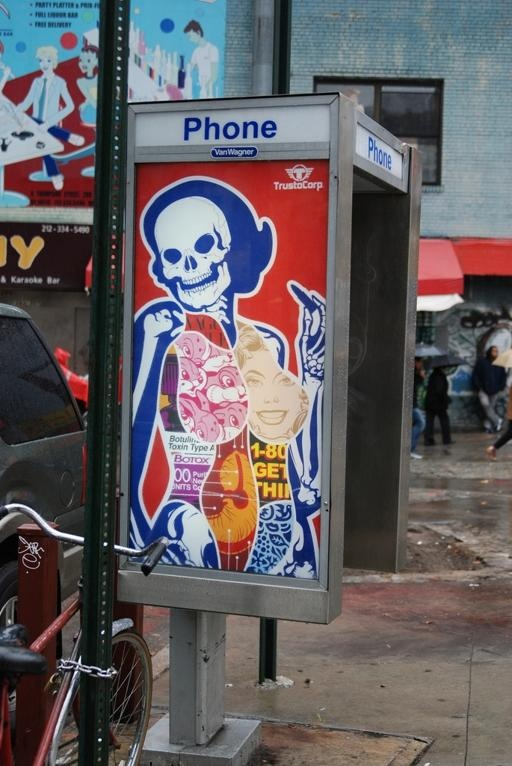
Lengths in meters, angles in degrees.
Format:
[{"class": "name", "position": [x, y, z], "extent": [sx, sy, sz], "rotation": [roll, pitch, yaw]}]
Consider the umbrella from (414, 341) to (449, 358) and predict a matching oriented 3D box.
[{"class": "umbrella", "position": [2.844, -0.537, 17.871], "extent": [0.542, 0.241, 0.556], "rotation": [3, 5, 39]}]

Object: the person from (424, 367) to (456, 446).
[{"class": "person", "position": [2.995, 0.379, 17.977], "extent": [0.446, 1.368, 0.787], "rotation": [1, 11, 9]}]
